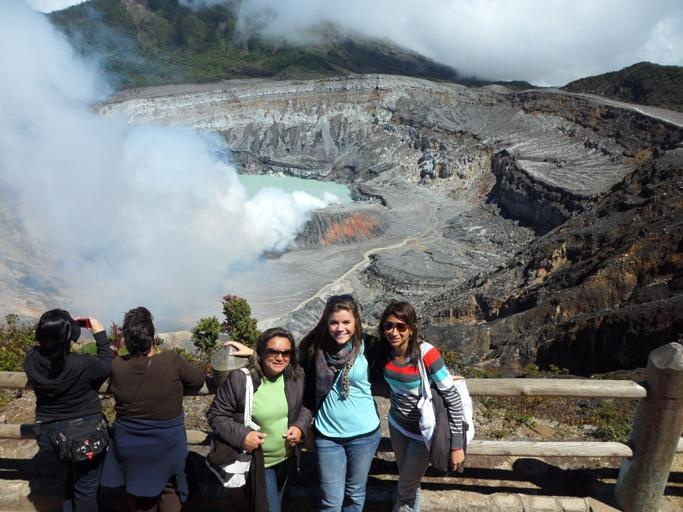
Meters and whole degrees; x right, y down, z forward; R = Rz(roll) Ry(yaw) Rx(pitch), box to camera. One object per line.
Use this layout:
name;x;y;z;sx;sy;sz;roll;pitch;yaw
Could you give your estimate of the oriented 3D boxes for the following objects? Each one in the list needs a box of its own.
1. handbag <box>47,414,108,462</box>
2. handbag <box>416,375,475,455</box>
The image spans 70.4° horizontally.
handbag;-2.975;1.969;5.333;0.784;0.322;0.607;-6;1;30
handbag;1.122;1.608;5.031;0.605;0.734;0.264;1;11;-17
